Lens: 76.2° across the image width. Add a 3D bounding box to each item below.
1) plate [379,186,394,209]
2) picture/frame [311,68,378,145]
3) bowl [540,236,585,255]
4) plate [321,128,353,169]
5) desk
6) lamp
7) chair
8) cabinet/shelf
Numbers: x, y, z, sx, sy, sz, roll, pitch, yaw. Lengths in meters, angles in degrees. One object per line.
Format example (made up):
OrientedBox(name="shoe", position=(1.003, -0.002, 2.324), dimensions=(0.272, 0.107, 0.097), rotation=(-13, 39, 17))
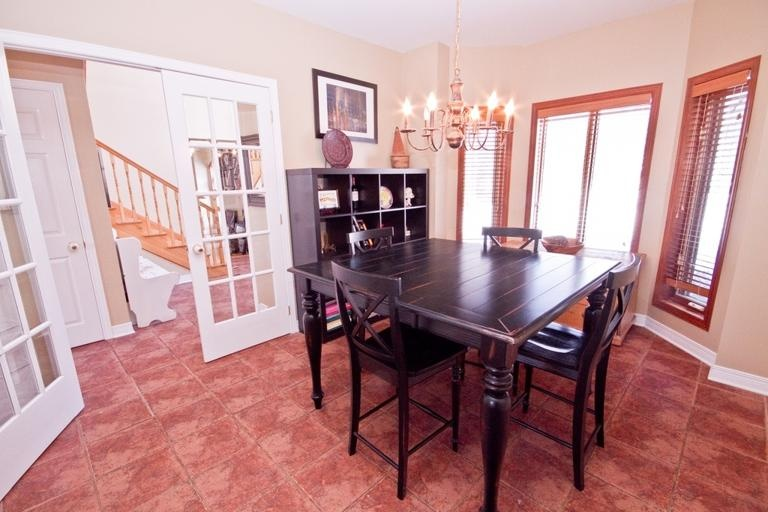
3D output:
OrientedBox(name="plate", position=(0.028, -0.659, 5.542), dimensions=(0.052, 0.228, 0.231), rotation=(0, 1, 42))
OrientedBox(name="picture/frame", position=(-0.458, -1.641, 5.335), dimensions=(0.916, 0.733, 0.030), rotation=(-7, 12, -40))
OrientedBox(name="bowl", position=(1.877, -0.121, 5.171), dimensions=(0.285, 0.089, 0.291), rotation=(-1, 13, 0))
OrientedBox(name="plate", position=(-0.478, -1.172, 5.313), dimensions=(0.429, 0.396, 0.163), rotation=(-13, 19, -38))
OrientedBox(name="desk", position=(0.520, 0.540, 4.216), dimensions=(2.110, 1.269, 2.162), rotation=(11, 19, 41))
OrientedBox(name="lamp", position=(0.800, -1.938, 5.177), dimensions=(1.163, 1.816, 1.023), rotation=(-6, 25, -10))
OrientedBox(name="chair", position=(0.577, 0.832, 4.066), dimensions=(2.213, 1.449, 1.668), rotation=(9, 17, 43))
OrientedBox(name="cabinet/shelf", position=(-0.318, 0.006, 4.567), dimensions=(0.422, 1.509, 1.615), rotation=(13, 21, 41))
